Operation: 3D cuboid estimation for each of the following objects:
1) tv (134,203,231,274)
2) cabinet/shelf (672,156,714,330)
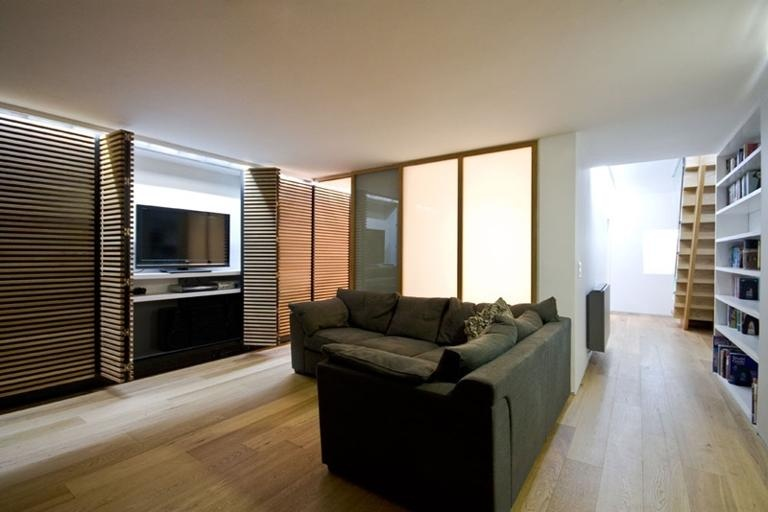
[{"bbox_3d":[-2.886,-0.248,7.026,0.114,0.698,1.052,-2,-2,40],"label":"tv"},{"bbox_3d":[5.406,-0.226,8.687,0.587,3.013,0.945,-2,-1,9],"label":"cabinet/shelf"}]
